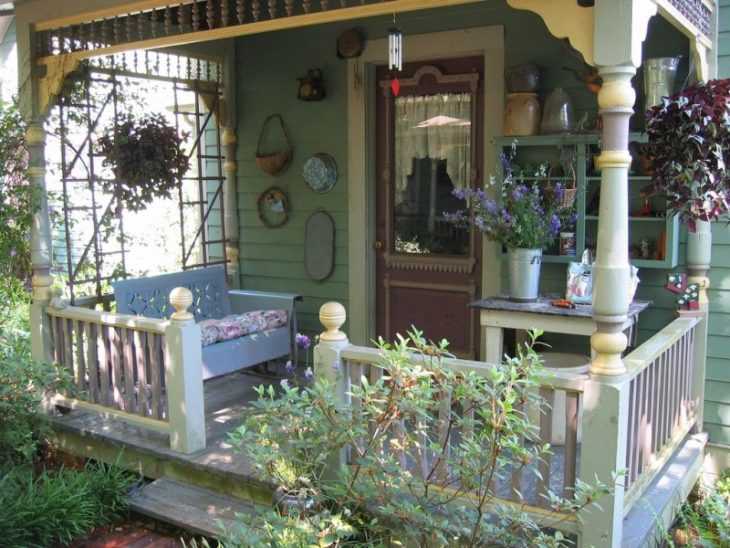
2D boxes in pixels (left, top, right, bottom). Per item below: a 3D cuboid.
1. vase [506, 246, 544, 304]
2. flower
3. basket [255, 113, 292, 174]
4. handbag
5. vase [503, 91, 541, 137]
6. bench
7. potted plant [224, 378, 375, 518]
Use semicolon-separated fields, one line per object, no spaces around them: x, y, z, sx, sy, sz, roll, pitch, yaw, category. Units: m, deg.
1.149;-0.008;4.649;0.321;0.440;0.313;0;2;-9;vase
1.214;-0.573;4.906;0.775;0.671;0.906;16;27;12;flower
-0.888;-1.235;6.351;0.358;0.603;0.218;-1;-5;24;basket
1.638;0.024;4.536;0.155;0.392;0.395;7;-2;-41;handbag
1.237;-1.244;5.127;0.286;0.359;0.301;-3;11;-31;vase
-1.273;0.471;5.863;1.146;1.002;1.555;2;5;23;bench
-0.277;0.850;3.749;0.791;0.916;0.754;-1;-3;40;potted plant
